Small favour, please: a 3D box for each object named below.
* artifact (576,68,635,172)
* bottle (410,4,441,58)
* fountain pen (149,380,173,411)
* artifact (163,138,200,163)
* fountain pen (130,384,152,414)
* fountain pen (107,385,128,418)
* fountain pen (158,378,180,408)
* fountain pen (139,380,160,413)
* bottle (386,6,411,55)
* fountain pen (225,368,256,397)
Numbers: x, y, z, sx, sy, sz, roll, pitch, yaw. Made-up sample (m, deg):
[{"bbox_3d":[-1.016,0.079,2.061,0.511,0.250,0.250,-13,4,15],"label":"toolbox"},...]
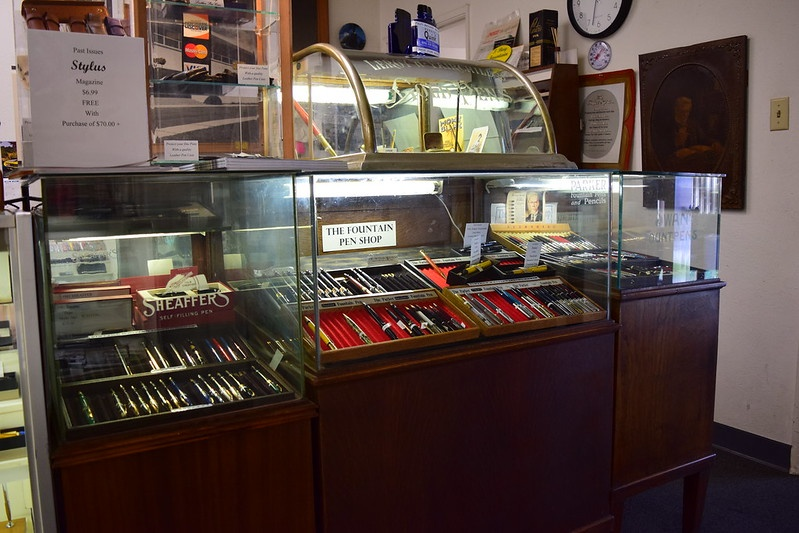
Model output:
[{"bbox_3d":[1.454,-1.016,4.077,0.101,0.645,0.412,-10,12,-34],"label":"artifact"},{"bbox_3d":[0.124,-1.180,2.949,0.132,0.268,0.207,-4,10,2],"label":"bottle"},{"bbox_3d":[-0.804,0.437,1.939,0.019,0.022,0.102,-37,72,-17],"label":"fountain pen"},{"bbox_3d":[-0.760,-0.393,2.010,0.108,0.076,0.054,-4,10,-4],"label":"artifact"},{"bbox_3d":[-0.863,0.445,1.922,0.022,0.023,0.104,-25,58,-27],"label":"fountain pen"},{"bbox_3d":[-0.927,0.450,1.905,0.038,0.032,0.127,-21,57,-24],"label":"fountain pen"},{"bbox_3d":[-0.796,0.415,1.987,0.041,0.043,0.163,-6,31,-31],"label":"fountain pen"},{"bbox_3d":[-0.828,0.445,1.929,0.039,0.045,0.158,-14,53,-30],"label":"fountain pen"},{"bbox_3d":[0.000,-1.176,2.945,0.125,0.260,0.343,-4,10,0],"label":"bottle"},{"bbox_3d":[-0.562,0.419,2.033,0.049,0.029,0.180,-14,34,-30],"label":"fountain pen"}]
